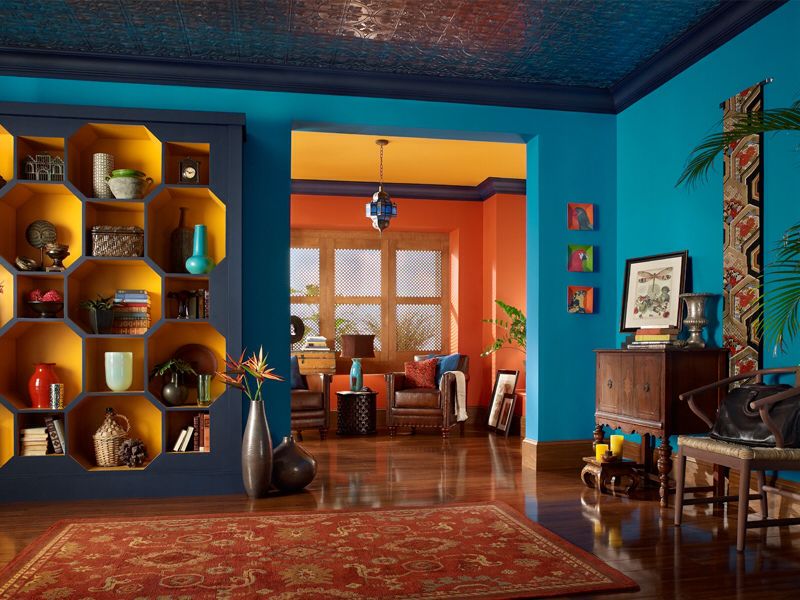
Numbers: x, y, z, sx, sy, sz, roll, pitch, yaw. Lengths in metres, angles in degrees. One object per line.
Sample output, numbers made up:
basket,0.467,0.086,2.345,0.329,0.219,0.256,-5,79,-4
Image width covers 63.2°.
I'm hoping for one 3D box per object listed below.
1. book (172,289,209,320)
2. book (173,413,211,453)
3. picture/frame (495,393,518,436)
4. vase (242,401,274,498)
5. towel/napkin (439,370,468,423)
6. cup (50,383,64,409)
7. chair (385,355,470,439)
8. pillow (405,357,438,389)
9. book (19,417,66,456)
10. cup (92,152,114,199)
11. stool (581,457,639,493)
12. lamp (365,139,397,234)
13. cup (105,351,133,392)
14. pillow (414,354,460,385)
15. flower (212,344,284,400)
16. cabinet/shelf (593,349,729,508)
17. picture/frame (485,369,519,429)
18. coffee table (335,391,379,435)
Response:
book,-1.689,0.050,5.407,0.372,0.300,0.247,0,-6,-9
book,-1.655,1.066,5.239,0.340,0.292,0.083,-1,-2,13
picture/frame,1.399,1.495,8.456,0.040,0.496,0.509,10,8,-18
vase,-1.119,1.162,5.097,0.245,0.752,0.214,1,-2,-13
towel/napkin,0.677,1.222,8.266,0.342,0.651,0.463,0,-2,2
cup,-2.719,0.747,5.143,0.107,0.197,0.297,2,-2,-27
chair,0.386,1.207,8.497,1.218,0.956,1.143,0,-4,-24
pillow,0.286,0.951,8.579,0.411,0.343,0.175,2,-10,4
book,-2.800,1.073,5.095,0.306,0.169,0.382,1,2,-17
cup,-2.385,-0.988,5.200,0.140,0.382,0.191,1,-2,-25
stool,1.704,1.408,5.318,0.384,0.197,0.357,2,-6,-23
lamp,-0.208,-1.297,7.337,0.395,0.959,0.358,4,11,16
cup,-2.265,0.565,5.188,0.216,0.308,0.164,1,-2,-8
pillow,0.498,0.878,8.557,0.145,0.418,0.484,29,-22,-32
flower,-1.198,0.690,5.245,0.483,0.452,0.411,-9,-10,7
cabinet/shelf,2.034,0.986,4.995,0.843,1.282,1.212,1,-4,-8
picture/frame,1.385,1.327,8.714,0.044,0.942,0.892,15,-6,-15
coffee table,-0.503,1.446,8.449,0.586,0.469,0.577,0,-5,5
